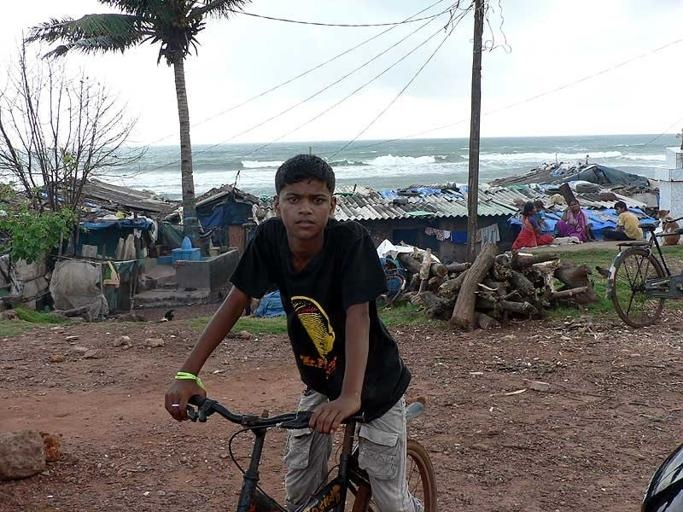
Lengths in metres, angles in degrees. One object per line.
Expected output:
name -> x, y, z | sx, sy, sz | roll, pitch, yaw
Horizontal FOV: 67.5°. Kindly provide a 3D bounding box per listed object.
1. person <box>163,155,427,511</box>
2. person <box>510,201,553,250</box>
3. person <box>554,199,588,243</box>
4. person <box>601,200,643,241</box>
person -> -0.189, 0.562, 2.752 | 1.061, 2.175, 0.584 | -5, 13, 9
person -> 5.687, -0.880, 15.056 | 1.030, 1.348, 0.782 | -6, 12, 1
person -> 7.649, -1.117, 16.812 | 1.220, 1.446, 0.758 | -13, 14, -30
person -> 8.006, -0.991, 14.548 | 1.128, 1.091, 0.933 | 0, 15, 17
